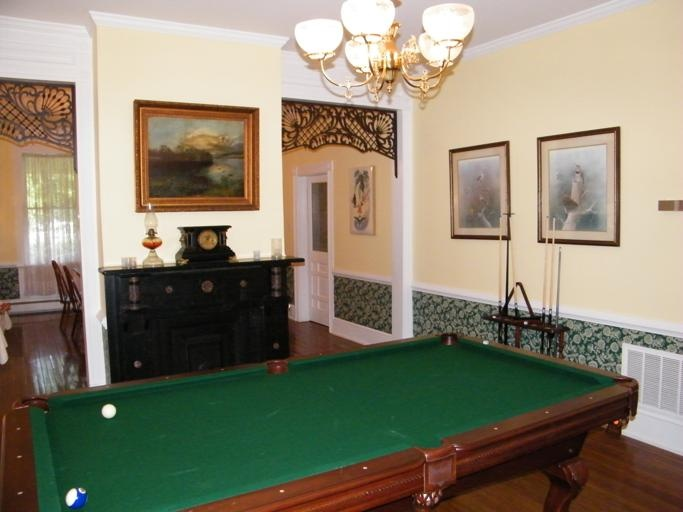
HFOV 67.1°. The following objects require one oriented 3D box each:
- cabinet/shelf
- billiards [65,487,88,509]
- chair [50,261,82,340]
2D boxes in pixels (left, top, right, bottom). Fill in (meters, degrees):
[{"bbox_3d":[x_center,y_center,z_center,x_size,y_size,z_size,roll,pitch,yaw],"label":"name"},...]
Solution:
[{"bbox_3d":[-1.284,0.530,4.383,1.441,0.967,0.771,1,5,-30],"label":"cabinet/shelf"},{"bbox_3d":[-0.975,0.880,1.897,0.070,0.070,0.039,-43,-7,-17],"label":"billiards"},{"bbox_3d":[-4.397,0.707,8.161,0.413,1.074,0.466,2,6,-20],"label":"chair"}]
